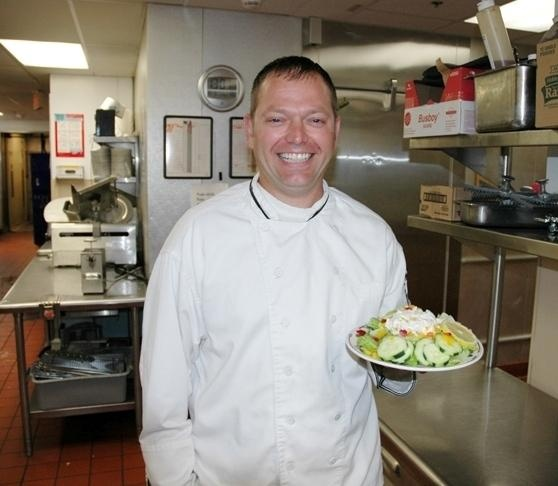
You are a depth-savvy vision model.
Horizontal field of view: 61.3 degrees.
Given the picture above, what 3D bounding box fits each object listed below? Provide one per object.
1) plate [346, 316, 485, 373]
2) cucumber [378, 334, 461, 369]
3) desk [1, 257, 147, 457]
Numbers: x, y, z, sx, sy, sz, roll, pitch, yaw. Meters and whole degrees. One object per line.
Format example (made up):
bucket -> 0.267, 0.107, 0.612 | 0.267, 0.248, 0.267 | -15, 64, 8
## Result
plate -> 0.295, 0.248, 1.117 | 0.282, 0.042, 0.294 | -4, 8, 9
cucumber -> 0.321, 0.246, 1.085 | 0.155, 0.020, 0.082 | 6, 37, 11
desk -> -1.395, 0.406, 3.303 | 0.917, 1.192, 1.808 | 0, 9, -14
